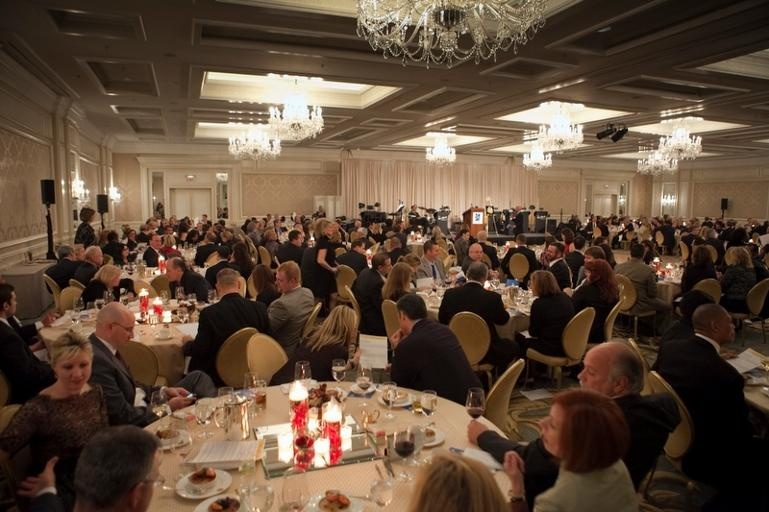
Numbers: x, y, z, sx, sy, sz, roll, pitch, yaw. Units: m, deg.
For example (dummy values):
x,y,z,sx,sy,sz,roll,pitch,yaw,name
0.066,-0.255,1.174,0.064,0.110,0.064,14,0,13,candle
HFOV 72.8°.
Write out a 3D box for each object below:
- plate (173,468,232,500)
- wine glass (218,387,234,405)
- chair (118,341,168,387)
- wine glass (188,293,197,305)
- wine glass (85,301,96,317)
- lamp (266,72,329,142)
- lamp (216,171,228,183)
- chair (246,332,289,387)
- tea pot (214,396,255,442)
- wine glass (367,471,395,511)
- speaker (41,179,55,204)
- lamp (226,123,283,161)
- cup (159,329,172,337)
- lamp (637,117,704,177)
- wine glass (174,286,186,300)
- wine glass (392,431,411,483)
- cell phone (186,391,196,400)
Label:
x,y,z,sx,sy,sz,roll,pitch,yaw,name
-1.294,1.619,3.726,0.382,0.168,0.200,0,5,-14,plate
-1.284,1.121,4.174,0.136,0.145,0.143,1,-5,-1,wine glass
-2.476,1.098,5.303,0.347,0.621,0.421,12,25,-9,chair
-2.434,0.552,6.668,0.114,0.174,0.116,4,7,44,wine glass
-3.697,0.680,6.557,0.145,0.229,0.129,14,12,42,wine glass
-1.873,-3.058,10.918,1.016,1.187,1.485,0,5,-12,lamp
-5.779,-2.788,18.509,0.300,0.650,0.296,-1,1,-12,lamp
-1.139,1.059,5.416,0.512,0.432,0.400,2,9,34,chair
-1.222,1.287,4.138,0.292,0.325,0.184,-1,2,11,tea pot
-0.024,1.642,3.619,0.166,0.283,0.185,0,-5,-2,wine glass
-6.169,-1.168,9.562,0.196,0.459,0.264,-3,7,-41,speaker
-3.539,-2.944,14.190,1.303,0.936,1.333,-2,1,21,lamp
-2.493,0.876,5.921,0.093,0.093,0.095,1,8,0,cup
8.884,-3.411,16.284,1.592,2.376,1.601,5,0,-34,lamp
-2.692,0.489,6.883,0.113,0.180,0.311,-1,6,-21,wine glass
0.134,1.419,3.770,0.144,0.394,0.254,1,5,2,wine glass
-1.746,1.264,4.698,0.041,0.079,0.075,14,25,2,cell phone
